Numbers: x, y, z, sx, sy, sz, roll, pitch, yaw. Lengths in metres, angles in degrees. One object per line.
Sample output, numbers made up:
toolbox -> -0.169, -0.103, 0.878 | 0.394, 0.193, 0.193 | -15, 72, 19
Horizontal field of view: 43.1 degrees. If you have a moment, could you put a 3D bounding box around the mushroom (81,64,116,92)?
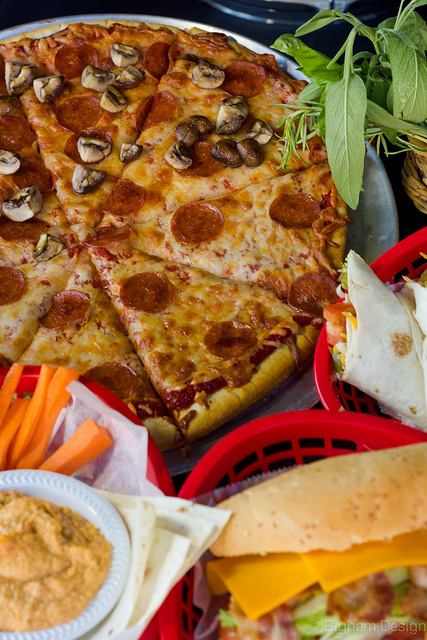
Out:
mushroom -> -0.549, -1.158, 2.580 | 0.142, 0.055, 0.104 | -26, 66, -33

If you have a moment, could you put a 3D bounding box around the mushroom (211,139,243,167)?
mushroom -> 0.055, -0.700, 2.341 | 0.120, 0.041, 0.117 | 39, 63, -3

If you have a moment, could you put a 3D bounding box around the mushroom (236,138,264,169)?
mushroom -> 0.150, -0.697, 2.324 | 0.116, 0.031, 0.121 | -37, 100, -37

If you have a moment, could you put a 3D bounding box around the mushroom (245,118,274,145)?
mushroom -> 0.206, -0.811, 2.327 | 0.101, 0.033, 0.103 | 36, 95, -2

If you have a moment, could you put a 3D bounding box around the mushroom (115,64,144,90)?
mushroom -> -0.406, -1.176, 2.611 | 0.123, 0.047, 0.119 | -18, 89, -8

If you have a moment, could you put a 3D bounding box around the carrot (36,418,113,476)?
carrot -> -0.281, 0.271, 1.178 | 0.214, 0.064, 0.075 | -39, 81, 14

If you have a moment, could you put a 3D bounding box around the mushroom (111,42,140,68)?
mushroom -> -0.433, -1.300, 2.645 | 0.102, 0.053, 0.133 | -19, 65, -17

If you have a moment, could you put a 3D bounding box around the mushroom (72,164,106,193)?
mushroom -> -0.538, -0.601, 2.293 | 0.040, 0.128, 0.125 | 36, 102, 52

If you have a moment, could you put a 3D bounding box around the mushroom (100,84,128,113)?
mushroom -> -0.464, -1.029, 2.525 | 0.099, 0.050, 0.127 | -14, 84, -15

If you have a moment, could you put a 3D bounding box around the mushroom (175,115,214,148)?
mushroom -> -0.079, -0.837, 2.347 | 0.171, 0.041, 0.121 | -36, 71, -22

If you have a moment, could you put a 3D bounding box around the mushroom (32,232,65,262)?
mushroom -> -0.650, -0.285, 2.121 | 0.115, 0.041, 0.110 | -2, 76, -10

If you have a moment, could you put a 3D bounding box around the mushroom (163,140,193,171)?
mushroom -> -0.141, -0.689, 2.279 | 0.109, 0.048, 0.120 | -10, 70, -19

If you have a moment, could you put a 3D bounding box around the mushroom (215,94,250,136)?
mushroom -> 0.105, -0.901, 2.413 | 0.174, 0.158, 0.159 | 5, 39, 19
